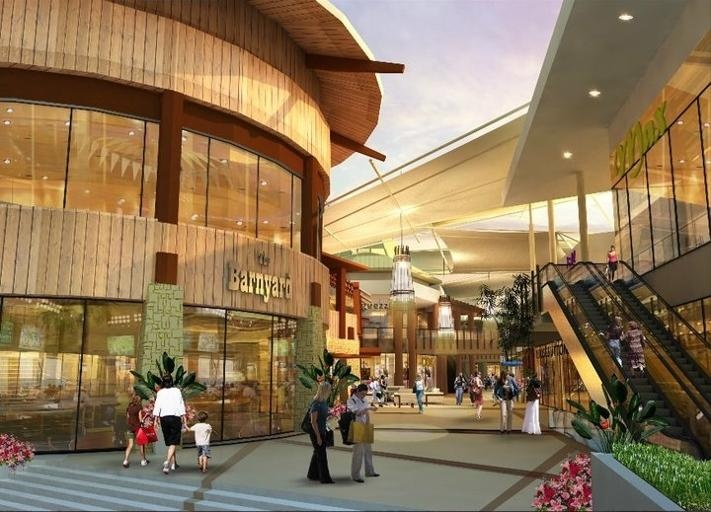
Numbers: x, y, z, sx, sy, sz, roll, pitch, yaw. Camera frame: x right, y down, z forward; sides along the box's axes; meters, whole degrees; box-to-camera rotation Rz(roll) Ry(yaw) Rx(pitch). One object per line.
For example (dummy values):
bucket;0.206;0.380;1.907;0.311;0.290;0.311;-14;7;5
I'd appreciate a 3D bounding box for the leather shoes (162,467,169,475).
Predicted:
leather shoes;-3.798;4.373;10.072;0.104;0.140;0.133;19;-34;-41

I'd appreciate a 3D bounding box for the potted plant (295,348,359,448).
potted plant;-0.683;4.334;15.830;1.512;1.983;1.186;2;-16;28

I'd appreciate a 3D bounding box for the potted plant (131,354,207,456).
potted plant;-4.647;3.452;12.380;2.448;2.536;2.196;2;-18;-16

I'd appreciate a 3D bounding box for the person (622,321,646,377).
person;7.184;2.363;12.810;0.445;1.337;0.407;-11;-15;30

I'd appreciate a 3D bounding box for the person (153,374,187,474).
person;-3.921;3.534;10.538;0.638;1.948;1.010;1;-14;-21

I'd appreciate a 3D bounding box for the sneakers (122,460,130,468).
sneakers;-5.011;4.563;10.909;0.135;0.154;0.380;0;-20;-5

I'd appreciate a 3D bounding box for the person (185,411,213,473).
person;-3.334;3.971;10.728;0.433;1.219;1.770;1;-14;-18

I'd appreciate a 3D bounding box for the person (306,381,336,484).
person;-0.674;3.304;9.354;0.485;1.813;0.916;-2;-13;-8

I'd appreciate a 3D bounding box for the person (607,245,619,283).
person;9.708;0.318;18.900;0.439;1.293;0.576;-10;-14;27
